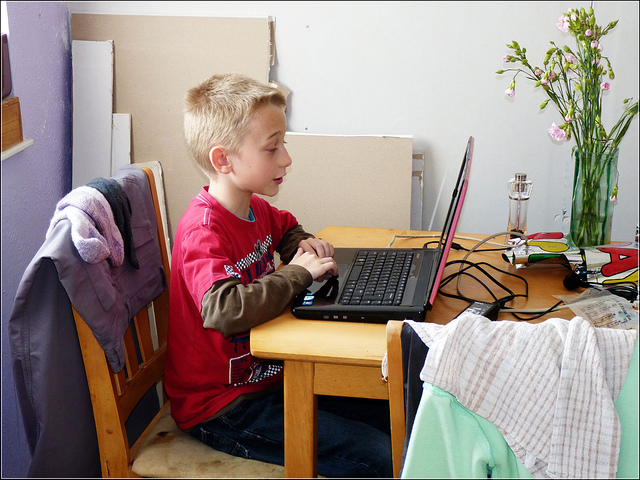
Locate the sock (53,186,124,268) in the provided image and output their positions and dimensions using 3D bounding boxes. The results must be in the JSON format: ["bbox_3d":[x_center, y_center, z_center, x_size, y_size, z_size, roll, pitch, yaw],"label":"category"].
[{"bbox_3d":[-0.482,-0.048,1.056,0.058,0.186,0.136,-21,28,-16],"label":"sock"}]

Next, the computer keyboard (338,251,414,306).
[{"bbox_3d":[0.131,0.096,1.106,0.098,0.026,0.192,-8,24,13],"label":"computer keyboard"}]

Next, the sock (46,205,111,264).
[{"bbox_3d":[-0.477,-0.009,0.989,0.056,0.140,0.099,-37,55,-15],"label":"sock"}]

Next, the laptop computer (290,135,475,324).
[{"bbox_3d":[0.153,-0.039,1.113,0.364,0.383,0.375,4,11,17],"label":"laptop computer"}]

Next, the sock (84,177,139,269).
[{"bbox_3d":[-0.517,-0.086,1.160,0.115,0.051,0.157,-10,-12,-29],"label":"sock"}]

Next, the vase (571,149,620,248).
[{"bbox_3d":[0.730,-0.110,1.267,0.105,0.257,0.053,6,12,28],"label":"vase"}]
